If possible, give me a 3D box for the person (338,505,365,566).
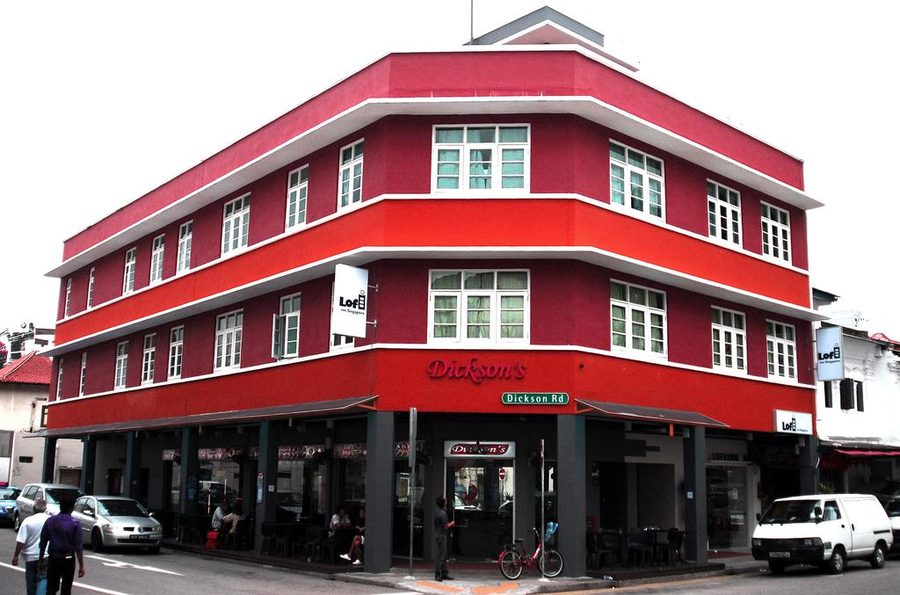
[{"bbox_3d":[-3.336,8.225,26.338,0.732,1.388,2.496,2,-5,-7],"label":"person"}]

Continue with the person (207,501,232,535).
[{"bbox_3d":[-9.358,8.966,31.309,0.670,0.975,1.352,3,-5,-16],"label":"person"}]

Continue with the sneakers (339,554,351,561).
[{"bbox_3d":[-3.510,8.729,25.852,0.172,0.199,0.523,18,-5,-40],"label":"sneakers"}]

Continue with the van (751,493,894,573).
[{"bbox_3d":[12.512,7.841,25.945,4.601,2.399,1.927,4,-5,-26],"label":"van"}]
